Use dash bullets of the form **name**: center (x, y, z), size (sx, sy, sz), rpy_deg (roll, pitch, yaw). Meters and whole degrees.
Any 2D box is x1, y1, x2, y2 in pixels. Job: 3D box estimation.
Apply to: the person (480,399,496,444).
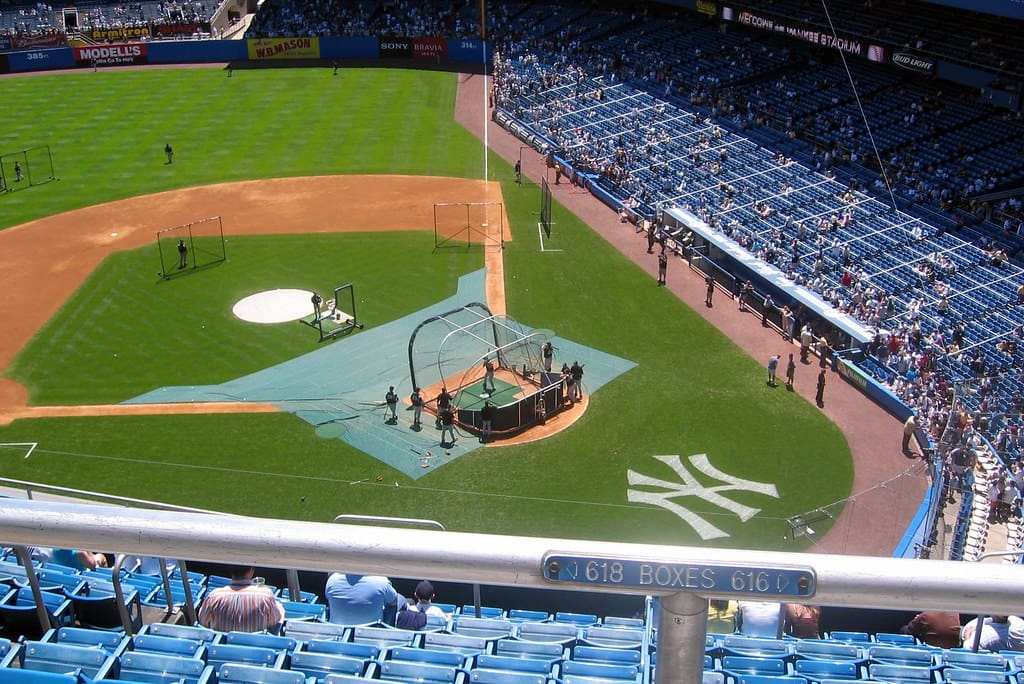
- **person**: center (-1.162, 3.360, 57.341), size (0.526, 1.588, 0.880), rpy_deg (2, 31, -2)
